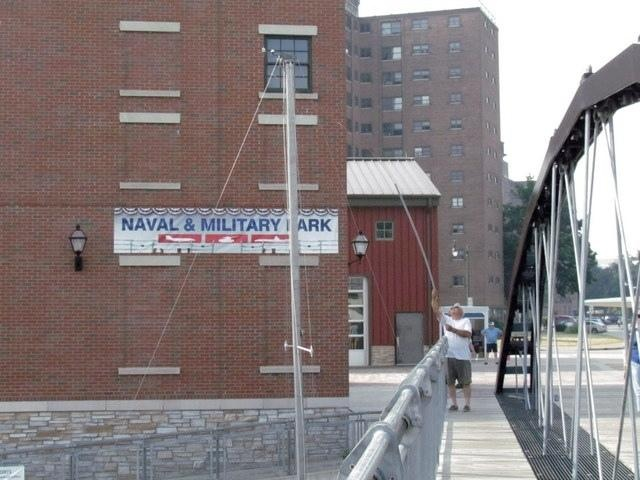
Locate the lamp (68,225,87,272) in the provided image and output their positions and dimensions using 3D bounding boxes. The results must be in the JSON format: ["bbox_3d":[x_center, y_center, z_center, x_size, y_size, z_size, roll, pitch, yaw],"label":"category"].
[{"bbox_3d":[-6.646,0.335,34.348,0.496,1.134,0.284,-1,-4,-13],"label":"lamp"}]
